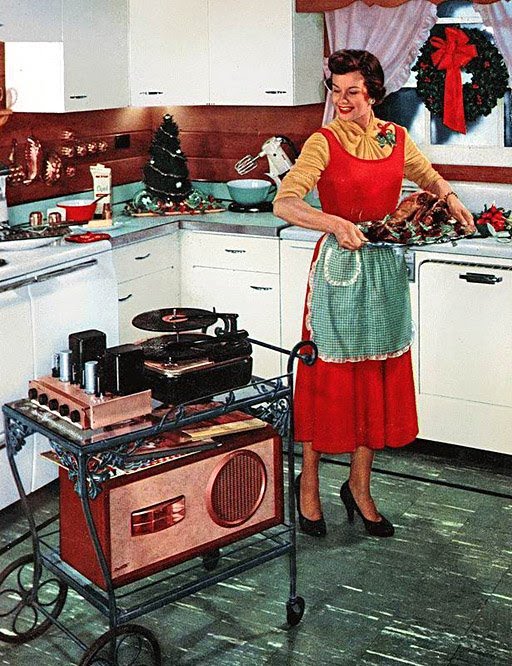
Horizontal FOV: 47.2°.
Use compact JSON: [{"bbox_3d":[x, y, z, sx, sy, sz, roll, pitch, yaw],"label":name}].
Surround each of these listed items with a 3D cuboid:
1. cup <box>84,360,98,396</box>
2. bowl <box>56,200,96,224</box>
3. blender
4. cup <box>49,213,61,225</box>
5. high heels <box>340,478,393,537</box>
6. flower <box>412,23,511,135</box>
[{"bbox_3d":[-0.321,0.087,1.135,0.028,0.060,0.046,-2,8,-16],"label":"cup"},{"bbox_3d":[-0.898,-0.597,2.942,0.192,0.080,0.185,-1,7,0],"label":"bowl"},{"bbox_3d":[0.043,-0.886,3.265,0.444,0.381,0.221,1,24,14],"label":"blender"},{"bbox_3d":[-0.940,-0.536,2.732,0.061,0.061,0.136,-2,8,-17],"label":"cup"},{"bbox_3d":[0.387,0.616,2.117,0.143,0.192,0.231,-5,9,-30],"label":"high heels"},{"bbox_3d":[1.002,-1.270,2.901,0.596,0.515,0.158,1,11,23],"label":"flower"}]
